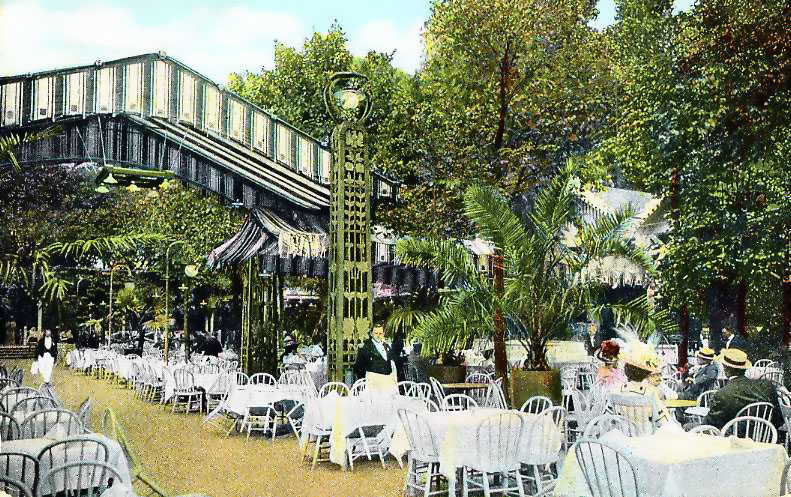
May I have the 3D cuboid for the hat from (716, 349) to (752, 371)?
[{"bbox_3d":[6.310,2.107,23.776,0.591,0.195,0.620,-4,11,-26],"label":"hat"}]

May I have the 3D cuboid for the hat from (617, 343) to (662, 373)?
[{"bbox_3d":[4.623,2.096,24.187,0.665,0.343,0.683,9,-1,21],"label":"hat"}]

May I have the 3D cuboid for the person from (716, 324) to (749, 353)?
[{"bbox_3d":[7.307,2.000,27.465,0.510,0.328,1.001,3,6,11],"label":"person"}]

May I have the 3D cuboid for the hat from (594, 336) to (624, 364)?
[{"bbox_3d":[4.188,2.060,25.035,0.555,0.601,0.594,-1,-4,7],"label":"hat"}]

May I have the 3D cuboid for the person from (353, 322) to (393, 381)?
[{"bbox_3d":[-0.511,2.177,26.104,0.840,1.226,0.610,5,-21,-20],"label":"person"}]
